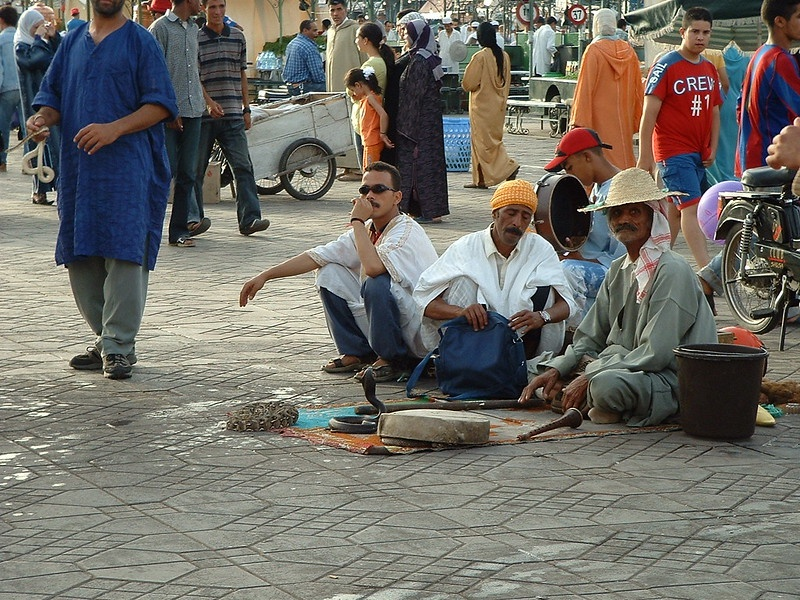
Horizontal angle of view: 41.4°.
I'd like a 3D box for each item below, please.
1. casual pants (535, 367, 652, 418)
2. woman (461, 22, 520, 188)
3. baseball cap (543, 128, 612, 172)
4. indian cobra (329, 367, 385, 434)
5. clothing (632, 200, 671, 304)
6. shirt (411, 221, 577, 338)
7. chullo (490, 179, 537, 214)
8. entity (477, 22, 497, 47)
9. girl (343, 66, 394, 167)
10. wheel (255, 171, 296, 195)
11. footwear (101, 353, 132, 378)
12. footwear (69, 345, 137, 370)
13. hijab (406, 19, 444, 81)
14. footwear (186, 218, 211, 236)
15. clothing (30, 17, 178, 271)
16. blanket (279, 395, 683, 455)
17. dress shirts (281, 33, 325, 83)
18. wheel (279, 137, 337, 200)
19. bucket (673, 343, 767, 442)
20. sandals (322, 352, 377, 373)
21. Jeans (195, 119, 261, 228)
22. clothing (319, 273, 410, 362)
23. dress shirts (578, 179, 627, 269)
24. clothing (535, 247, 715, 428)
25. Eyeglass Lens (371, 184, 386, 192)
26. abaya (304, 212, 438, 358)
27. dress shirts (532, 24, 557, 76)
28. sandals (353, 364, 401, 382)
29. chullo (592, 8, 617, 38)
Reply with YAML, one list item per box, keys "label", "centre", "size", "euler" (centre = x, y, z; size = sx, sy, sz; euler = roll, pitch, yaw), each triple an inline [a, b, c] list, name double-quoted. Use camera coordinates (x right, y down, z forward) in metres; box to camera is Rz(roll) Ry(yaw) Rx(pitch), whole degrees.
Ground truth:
- label: "casual pants"
  centre: [1.057, 0.480, 5.508]
  size: [0.395, 0.104, 0.333]
  euler: [-7, 7, -14]
- label: "woman"
  centre: [1.227, -2.587, 14.454]
  size: [0.773, 2.203, 0.874]
  euler: [0, 16, 2]
- label: "baseball cap"
  centre: [1.117, -0.977, 6.960]
  size: [0.483, 0.196, 0.262]
  euler: [-17, -7, 3]
- label: "indian cobra"
  centre: [-0.210, 0.514, 5.503]
  size: [0.350, 0.302, 0.331]
  euler: [7, 3, 29]
- label: "clothing"
  centre: [1.331, -0.252, 5.559]
  size: [0.189, 0.567, 0.191]
  euler: [11, -9, -25]
- label: "shirt"
  centre: [0.588, -0.140, 6.262]
  size: [0.955, 0.450, 0.447]
  euler: [4, 12, 10]
- label: "chullo"
  centre: [0.654, -0.591, 6.167]
  size: [0.212, 0.166, 0.237]
  euler: [2, 2, 11]
- label: "entity"
  centre: [1.137, -3.465, 14.044]
  size: [0.287, 0.311, 0.322]
  euler: [-3, 35, 1]
- label: "girl"
  centre: [-0.357, -2.017, 12.063]
  size: [0.331, 1.125, 0.652]
  euler: [-10, 18, -29]
- label: "wheel"
  centre: [-1.723, -1.526, 14.119]
  size: [0.473, 0.088, 0.428]
  euler: [-1, -17, -31]
- label: "footwear"
  centre: [-1.694, 0.382, 6.384]
  size: [0.160, 0.134, 0.220]
  euler: [-4, 14, -16]
- label: "footwear"
  centre: [-1.815, 0.351, 6.605]
  size: [0.451, 0.156, 0.148]
  euler: [3, -2, -5]
- label: "hijab"
  centre: [0.273, -2.741, 11.935]
  size: [0.462, 0.689, 0.591]
  euler: [-1, 13, 5]
- label: "footwear"
  centre: [-2.068, -0.744, 11.015]
  size: [0.334, 0.113, 0.131]
  euler: [-17, 17, 46]
- label: "clothing"
  centre: [-1.761, -0.906, 6.441]
  size: [0.836, 1.493, 0.597]
  euler: [-1, 16, -2]
- label: "blanket"
  centre: [0.309, 0.631, 5.539]
  size: [1.854, 0.079, 0.794]
  euler: [-2, 13, -10]
- label: "dress shirts"
  centre: [-1.435, -3.564, 15.954]
  size: [0.586, 0.707, 0.395]
  euler: [-2, 16, -5]
- label: "wheel"
  centre: [-1.198, -1.682, 13.681]
  size: [0.979, 0.755, 0.236]
  euler: [-1, 12, -22]
- label: "bucket"
  centre: [1.579, 0.459, 5.448]
  size: [0.559, 0.376, 0.467]
  euler: [0, 5, 15]
- label: "sandals"
  centre: [-0.315, 0.392, 6.607]
  size: [0.358, 0.116, 0.111]
  euler: [2, -1, -9]
- label: "Jeans"
  centre: [-1.864, -1.496, 11.135]
  size: [0.828, 1.511, 0.391]
  euler: [-4, 11, -15]
- label: "clothing"
  centre: [-0.223, 0.103, 6.518]
  size: [0.563, 0.572, 0.190]
  euler: [12, 20, 38]
- label: "dress shirts"
  centre: [1.298, -0.489, 6.799]
  size: [0.412, 0.533, 0.272]
  euler: [-2, 14, -2]
- label: "clothing"
  centre: [1.291, 0.192, 5.800]
  size: [0.987, 0.892, 1.045]
  euler: [-4, 4, -6]
- label: "Eyeglass Lens"
  centre: [-0.127, -0.669, 6.499]
  size: [0.100, 0.059, 0.018]
  euler: [-1, 16, -3]
- label: "abaya"
  centre: [-0.153, -0.094, 6.606]
  size: [1.118, 0.818, 0.842]
  euler: [-3, 10, -12]
- label: "dress shirts"
  centre: [3.594, -6.041, 26.468]
  size: [0.663, 1.362, 0.732]
  euler: [-12, 23, -29]
- label: "sandals"
  centre: [-0.153, 0.425, 6.323]
  size: [0.360, 0.108, 0.117]
  euler: [2, -4, -21]
- label: "chullo"
  centre: [2.047, -2.755, 10.736]
  size: [0.301, 0.303, 0.337]
  euler: [2, 11, 8]
